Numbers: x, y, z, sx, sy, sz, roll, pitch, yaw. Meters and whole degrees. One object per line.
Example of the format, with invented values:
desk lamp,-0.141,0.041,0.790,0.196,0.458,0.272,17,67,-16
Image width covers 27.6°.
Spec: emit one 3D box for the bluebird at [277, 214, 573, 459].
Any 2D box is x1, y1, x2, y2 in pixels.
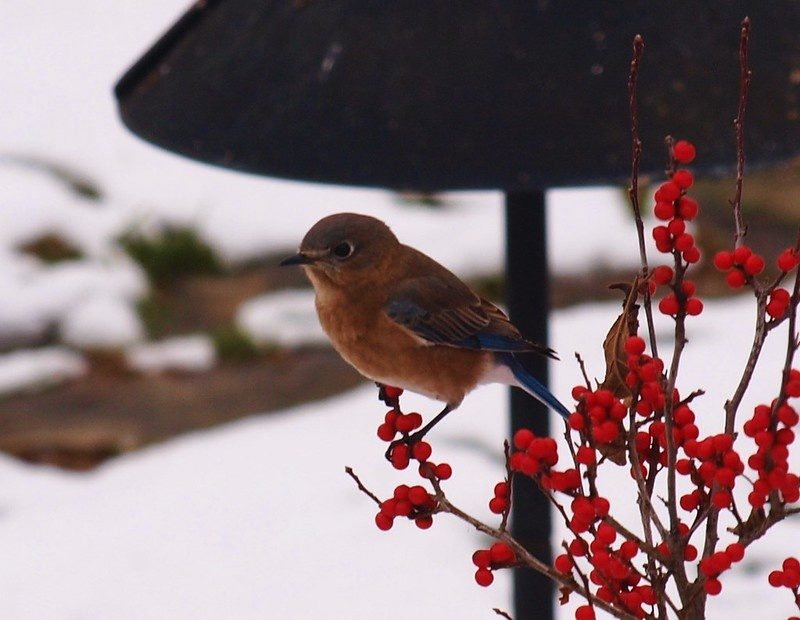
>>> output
bluebird,0.064,0.033,2.896,0.508,0.236,0.437,-1,-77,-17
